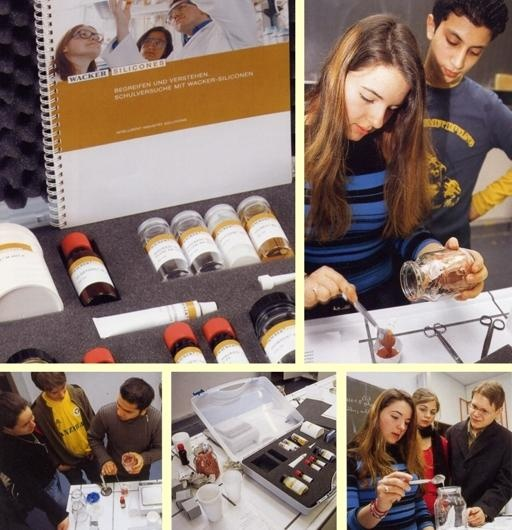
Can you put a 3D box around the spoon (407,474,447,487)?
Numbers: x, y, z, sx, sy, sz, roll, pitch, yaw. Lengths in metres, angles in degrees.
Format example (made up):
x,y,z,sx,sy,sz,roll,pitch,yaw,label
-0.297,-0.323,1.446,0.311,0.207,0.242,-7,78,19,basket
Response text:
x,y,z,sx,sy,sz,roll,pitch,yaw,label
0.288,0.360,0.767,0.067,0.019,0.022,-4,-5,-3,spoon

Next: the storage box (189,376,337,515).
x,y,z,sx,sy,sz,roll,pitch,yaw,label
0.016,0.285,0.792,0.181,0.083,0.237,-28,55,-31,storage box

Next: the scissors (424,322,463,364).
x,y,z,sx,sy,sz,roll,pitch,yaw,label
0.313,0.126,0.763,0.035,0.081,0.006,-33,-9,3,scissors

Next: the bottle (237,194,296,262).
x,y,z,sx,sy,sz,roll,pitch,yaw,label
0.019,-0.059,0.808,0.057,0.064,0.146,-11,48,-14,bottle

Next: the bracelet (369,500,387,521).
x,y,z,sx,sy,sz,roll,pitch,yaw,label
0.202,0.408,0.767,0.022,0.011,0.026,14,15,1,bracelet

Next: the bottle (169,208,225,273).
x,y,z,sx,sy,sz,roll,pitch,yaw,label
-0.109,-0.032,0.825,0.052,0.064,0.118,-11,61,-30,bottle

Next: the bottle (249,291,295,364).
x,y,z,sx,sy,sz,roll,pitch,yaw,label
0.036,0.110,0.783,0.074,0.091,0.079,-13,28,-1,bottle

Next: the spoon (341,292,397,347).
x,y,z,sx,sy,sz,roll,pitch,yaw,label
0.188,0.090,0.772,0.040,0.125,0.013,-40,-2,-42,spoon

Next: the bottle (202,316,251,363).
x,y,z,sx,sy,sz,roll,pitch,yaw,label
-0.049,0.136,0.771,0.059,0.075,0.071,-19,28,-12,bottle

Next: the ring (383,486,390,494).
x,y,z,sx,sy,sz,roll,pitch,yaw,label
0.217,0.372,0.765,0.007,0.010,0.006,0,30,23,ring

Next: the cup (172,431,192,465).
x,y,z,sx,sy,sz,roll,pitch,yaw,label
-0.121,0.300,0.764,0.026,0.055,0.053,0,34,-2,cup

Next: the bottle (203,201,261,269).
x,y,z,sx,sy,sz,roll,pitch,yaw,label
-0.041,-0.047,0.804,0.060,0.067,0.143,-9,47,-21,bottle

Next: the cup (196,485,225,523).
x,y,z,sx,sy,sz,roll,pitch,yaw,label
-0.073,0.383,0.747,0.035,0.056,0.057,-15,13,0,cup

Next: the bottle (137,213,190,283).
x,y,z,sx,sy,sz,roll,pitch,yaw,label
-0.160,-0.023,0.805,0.052,0.058,0.122,-19,52,-17,bottle

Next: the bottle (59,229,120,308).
x,y,z,sx,sy,sz,roll,pitch,yaw,label
-0.283,0.010,0.781,0.064,0.113,0.096,-24,30,-22,bottle

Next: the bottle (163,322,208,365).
x,y,z,sx,sy,sz,roll,pitch,yaw,label
-0.120,0.133,0.764,0.055,0.056,0.079,-20,29,-14,bottle
